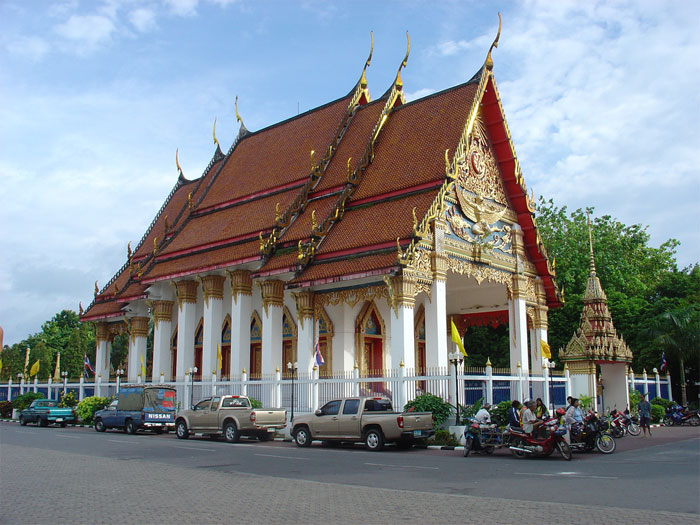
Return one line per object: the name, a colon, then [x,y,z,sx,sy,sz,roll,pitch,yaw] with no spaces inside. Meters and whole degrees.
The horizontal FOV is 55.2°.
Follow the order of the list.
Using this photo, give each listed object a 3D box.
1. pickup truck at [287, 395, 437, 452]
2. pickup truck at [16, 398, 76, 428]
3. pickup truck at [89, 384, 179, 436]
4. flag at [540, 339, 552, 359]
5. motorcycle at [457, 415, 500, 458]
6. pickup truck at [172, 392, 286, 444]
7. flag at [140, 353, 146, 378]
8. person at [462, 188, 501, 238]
pickup truck: [0.483,5.321,21.369,3.931,1.431,1.838,-7,-19,31]
pickup truck: [-14.909,7.495,33.287,2.577,1.419,1.351,-9,-18,25]
pickup truck: [-8.960,6.226,28.266,3.702,1.949,0.896,-10,-18,29]
flag: [8.434,3.742,28.843,0.336,1.135,1.942,-5,-17,15]
motorcycle: [3.780,5.156,19.507,1.381,0.890,0.715,20,-29,-38]
pickup truck: [-4.440,5.759,24.474,4.122,1.659,1.013,-11,-19,31]
flag: [-11.136,5.583,36.113,0.207,1.228,1.677,5,-17,-20]
person: [5.399,-1.990,27.645,0.321,1.373,1.916,-8,-12,38]
